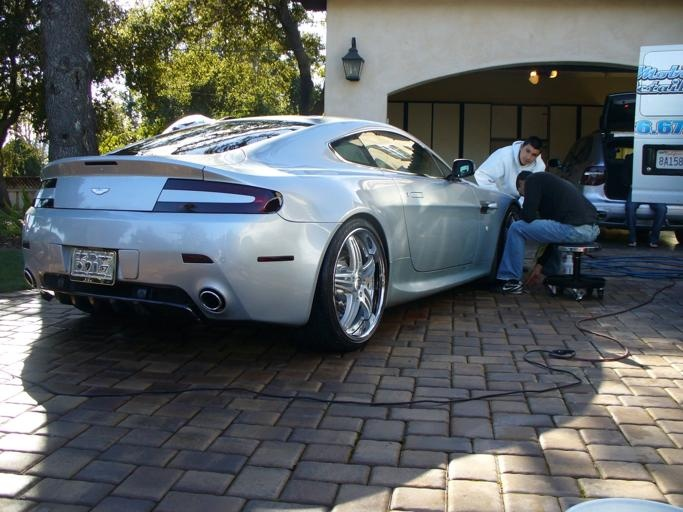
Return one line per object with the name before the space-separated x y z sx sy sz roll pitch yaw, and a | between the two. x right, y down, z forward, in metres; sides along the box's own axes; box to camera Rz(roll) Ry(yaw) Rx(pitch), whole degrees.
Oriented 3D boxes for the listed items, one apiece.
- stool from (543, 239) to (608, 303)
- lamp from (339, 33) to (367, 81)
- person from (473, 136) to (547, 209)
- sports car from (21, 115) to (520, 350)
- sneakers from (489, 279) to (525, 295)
stool | 2.846 0.155 5.566 0.860 0.620 0.776 0 6 4
lamp | 0.287 -4.333 9.942 0.502 0.954 0.331 0 8 0
person | 2.758 -1.296 7.105 1.479 1.025 0.748 4 2 -22
sports car | -0.028 -0.157 4.048 2.057 0.974 3.741 5 9 35
sneakers | 2.087 0.395 5.579 0.474 0.173 0.171 -1 33 8
